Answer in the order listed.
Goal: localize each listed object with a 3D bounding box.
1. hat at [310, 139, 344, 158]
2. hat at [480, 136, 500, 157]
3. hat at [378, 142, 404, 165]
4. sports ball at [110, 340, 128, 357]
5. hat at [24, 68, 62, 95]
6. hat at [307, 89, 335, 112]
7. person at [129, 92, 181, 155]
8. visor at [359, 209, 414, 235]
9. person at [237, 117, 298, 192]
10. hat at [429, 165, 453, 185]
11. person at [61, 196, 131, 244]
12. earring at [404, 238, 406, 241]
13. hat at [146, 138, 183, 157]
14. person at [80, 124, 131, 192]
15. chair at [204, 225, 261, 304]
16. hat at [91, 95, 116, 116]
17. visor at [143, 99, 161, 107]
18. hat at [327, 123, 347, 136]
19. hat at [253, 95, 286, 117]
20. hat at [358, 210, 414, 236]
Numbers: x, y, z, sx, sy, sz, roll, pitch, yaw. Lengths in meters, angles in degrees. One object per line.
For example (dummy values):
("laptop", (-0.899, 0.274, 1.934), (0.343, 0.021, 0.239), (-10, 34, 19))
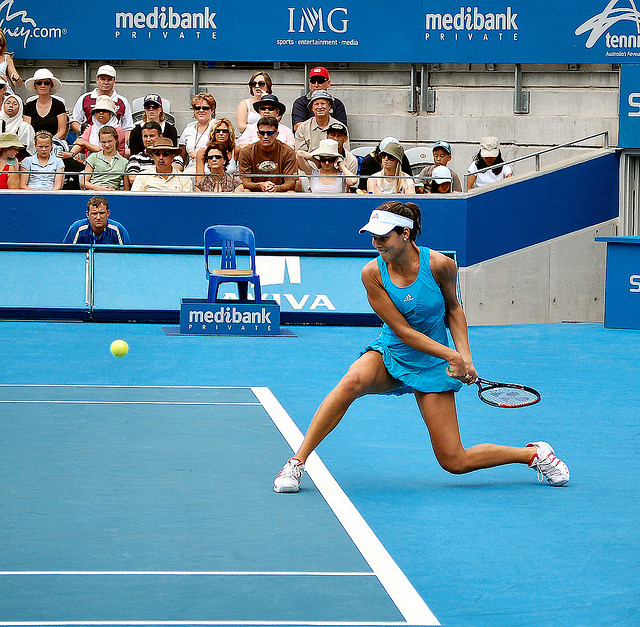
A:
("hat", (0.102, -1.903, 14.370), (0.283, 0.132, 0.328), (1, 4, -1))
("hat", (2.035, -1.971, 14.766), (0.221, 0.140, 0.383), (2, 34, 7))
("hat", (0.827, -1.817, 13.998), (0.159, 0.127, 0.226), (25, -5, 39))
("sports ball", (-1.780, 0.302, 10.965), (0.137, 0.154, 0.270), (0, 8, -9))
("hat", (-3.617, -2.997, 16.067), (0.439, 0.344, 1.287), (0, 8, -13))
("hat", (0.017, -2.603, 15.199), (0.299, 0.253, 0.669), (1, 8, -1))
("person", (-2.050, -2.226, 15.213), (0.572, 1.025, 0.727), (-5, -3, 3))
("visor", (0.367, -0.473, 6.467), (0.131, 0.080, 0.221), (-4, 1, 36))
("person", (-0.590, -1.728, 14.273), (0.727, 1.068, 0.759), (1, 27, -1))
("hat", (1.398, -1.587, 14.295), (0.252, 0.217, 0.350), (2, 8, 6))
("person", (-2.447, -0.948, 13.673), (0.760, 0.718, 0.376), (0, 23, -14))
("earring", (0.451, -0.388, 6.526), (0.007, 0.015, 0.008), (-1, 5, -13))
("hat", (-1.844, -1.933, 14.498), (0.289, 0.122, 0.345), (-1, -7, -5))
("person", (-2.506, -1.808, 14.466), (0.588, 0.734, 0.716), (1, 8, -7))
("chair", (-0.931, -0.453, 13.391), (0.601, 0.969, 0.702), (1, 2, 23))
("hat", (-2.678, -2.590, 15.414), (0.217, 0.141, 0.283), (2, 16, -10))
("visor", (-2.064, -2.590, 15.274), (0.202, 0.075, 0.188), (0, 8, -11))
("hat", (0.205, -2.158, 14.563), (0.223, 0.143, 0.314), (2, 8, 0))
("hat", (-0.626, -2.543, 15.182), (0.379, 0.247, 0.556), (1, 8, -4))
("hat", (0.363, -0.476, 6.479), (0.133, 0.079, 0.223), (-2, 3, 36))
